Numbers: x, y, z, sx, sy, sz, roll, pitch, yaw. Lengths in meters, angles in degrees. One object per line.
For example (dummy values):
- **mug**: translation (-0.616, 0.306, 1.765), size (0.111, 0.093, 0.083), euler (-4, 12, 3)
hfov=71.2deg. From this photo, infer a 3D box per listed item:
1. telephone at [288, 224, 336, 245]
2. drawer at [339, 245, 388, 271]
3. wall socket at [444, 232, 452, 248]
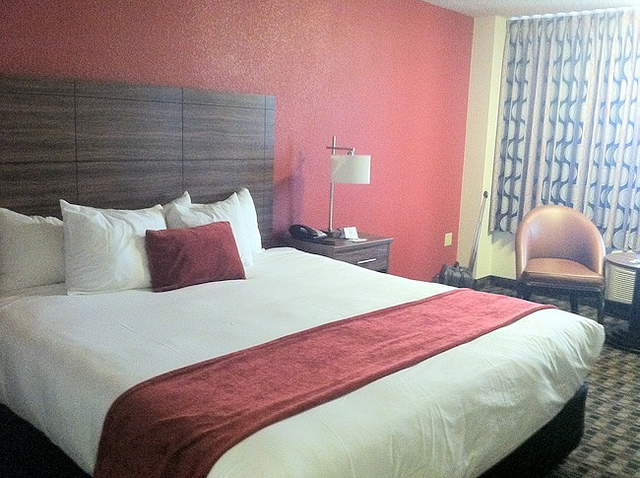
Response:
- **telephone**: translation (-0.095, -0.074, 3.970), size (0.481, 0.163, 0.158), euler (8, 14, 36)
- **drawer**: translation (0.432, 0.157, 4.044), size (0.430, 0.251, 0.238), euler (-14, 20, -43)
- **wall socket**: translation (1.624, -0.017, 5.682), size (0.179, 0.172, 0.017), euler (-14, 22, -40)
